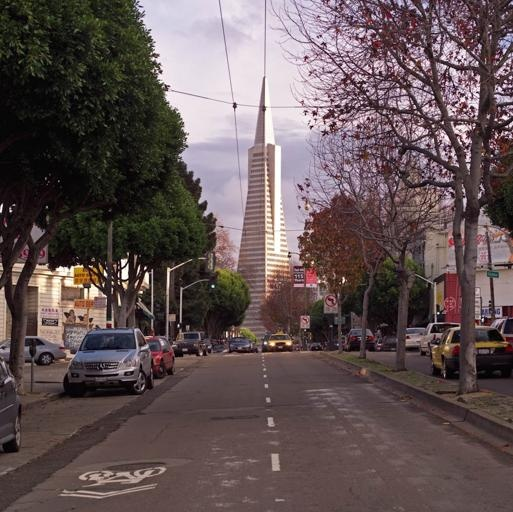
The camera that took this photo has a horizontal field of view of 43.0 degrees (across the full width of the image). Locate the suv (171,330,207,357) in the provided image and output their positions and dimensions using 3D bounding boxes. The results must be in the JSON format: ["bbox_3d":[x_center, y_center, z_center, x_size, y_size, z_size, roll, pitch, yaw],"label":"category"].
[{"bbox_3d":[-5.491,7.253,53.483,2.567,2.096,3.716,1,-9,-8],"label":"suv"}]

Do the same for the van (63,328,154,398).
[{"bbox_3d":[-4.159,3.066,19.285,1.354,1.374,2.916,-1,-11,-1],"label":"van"}]
